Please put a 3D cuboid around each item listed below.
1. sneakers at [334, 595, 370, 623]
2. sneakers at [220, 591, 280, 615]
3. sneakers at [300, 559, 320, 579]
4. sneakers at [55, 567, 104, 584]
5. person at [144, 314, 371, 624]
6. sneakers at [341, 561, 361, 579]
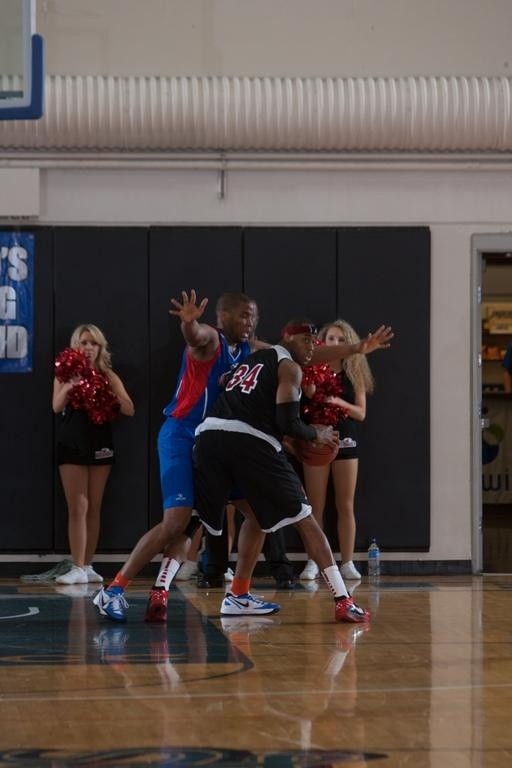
[{"bbox_3d":[0.417,0.997,4.348,0.074,0.094,0.204,-1,-4,38],"label":"sneakers"},{"bbox_3d":[-0.044,1.033,4.626,0.317,0.128,0.105,2,-4,-11],"label":"sneakers"},{"bbox_3d":[0.341,1.160,6.163,0.118,0.128,0.335,-2,-9,9],"label":"sneakers"},{"bbox_3d":[-1.056,1.145,5.837,0.302,0.117,0.117,3,-7,-24],"label":"sneakers"},{"bbox_3d":[0.080,0.396,4.325,0.695,1.327,0.526,-1,-5,23],"label":"person"},{"bbox_3d":[0.580,1.147,6.030,0.080,0.090,0.147,2,-11,-15],"label":"sneakers"}]
